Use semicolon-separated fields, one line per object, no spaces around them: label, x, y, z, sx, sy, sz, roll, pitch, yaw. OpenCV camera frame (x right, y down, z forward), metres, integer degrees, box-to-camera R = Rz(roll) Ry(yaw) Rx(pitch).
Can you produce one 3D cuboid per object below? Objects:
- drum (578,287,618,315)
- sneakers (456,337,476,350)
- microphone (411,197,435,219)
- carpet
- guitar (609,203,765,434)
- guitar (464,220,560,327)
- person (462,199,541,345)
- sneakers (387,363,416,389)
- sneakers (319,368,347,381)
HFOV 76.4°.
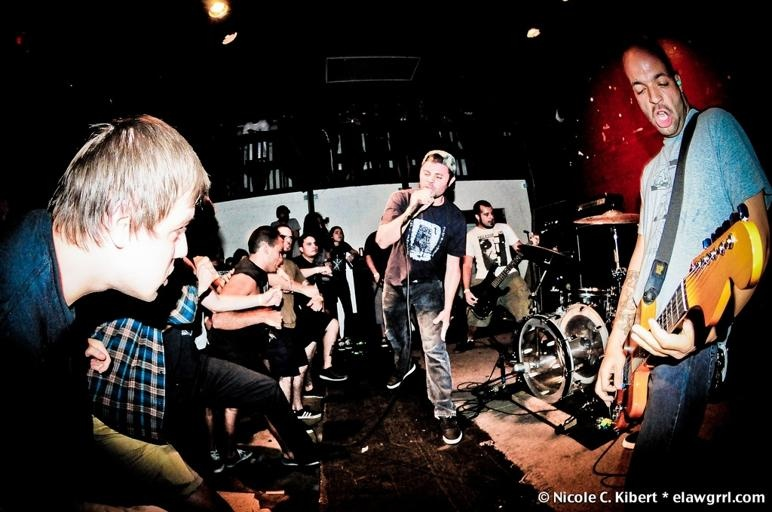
drum;2.440;0.475;5.693;0.341;0.319;0.339;-5;5;-21
sneakers;1.184;1.361;7.617;0.389;0.159;0.142;0;-8;-29
microphone;0.362;-0.494;4.891;0.262;0.063;0.077;-38;-28;22
carpet;1.702;1.572;4.305;0.404;1.651;1.649;41;7;-11
guitar;2.168;0.514;3.573;0.845;1.627;0.514;8;12;40
guitar;1.708;0.138;7.537;0.740;1.806;0.216;27;9;17
person;1.450;0.129;7.368;1.019;2.473;0.289;21;5;41
sneakers;0.219;1.466;6.013;0.198;0.224;0.587;-9;-3;39
sneakers;-0.672;1.597;6.729;0.477;0.190;0.158;1;-3;4
